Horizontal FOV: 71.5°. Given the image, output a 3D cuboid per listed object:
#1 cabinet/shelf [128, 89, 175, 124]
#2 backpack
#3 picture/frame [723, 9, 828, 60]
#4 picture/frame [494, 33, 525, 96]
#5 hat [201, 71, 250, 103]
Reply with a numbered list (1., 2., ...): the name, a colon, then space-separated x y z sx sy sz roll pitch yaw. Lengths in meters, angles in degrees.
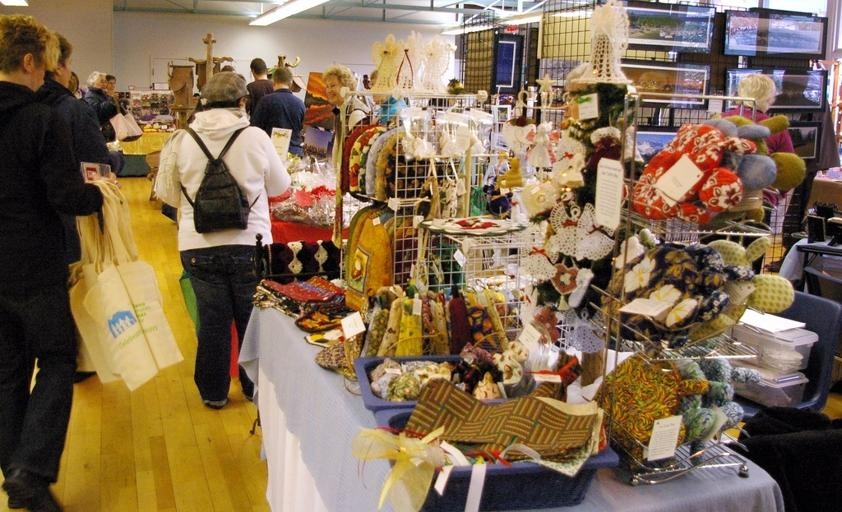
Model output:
1. cabinet/shelf: -6.019 -3.305 13.133 1.009 0.826 0.571 -1 5 -6
2. backpack: -1.324 -0.492 3.773 0.548 0.603 0.338 -4 20 -8
3. picture/frame: 4.060 -2.549 6.694 1.438 0.553 0.189 -3 12 -21
4. picture/frame: 1.228 -2.649 8.076 0.492 0.793 0.172 -6 14 -33
5. hat: -1.260 -1.088 3.821 0.207 0.101 0.264 -2 36 3
